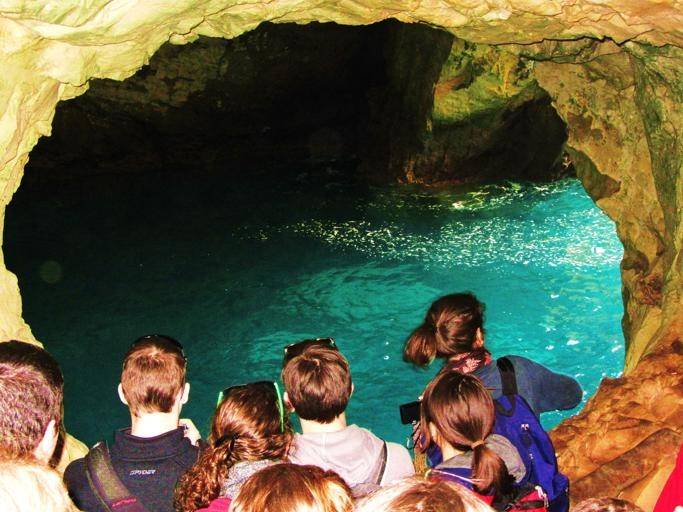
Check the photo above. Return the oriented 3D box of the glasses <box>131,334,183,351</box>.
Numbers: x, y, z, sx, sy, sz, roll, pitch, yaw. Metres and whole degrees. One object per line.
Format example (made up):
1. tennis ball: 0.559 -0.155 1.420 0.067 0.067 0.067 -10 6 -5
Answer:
1. glasses: -1.095 0.511 3.145 0.214 0.063 0.181 5 -6 -27
